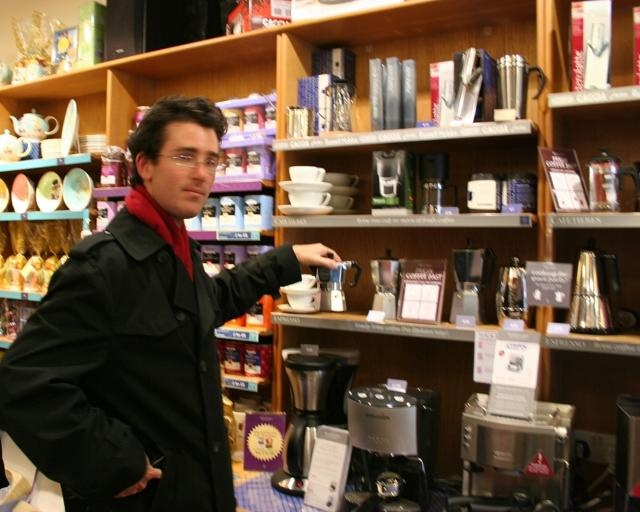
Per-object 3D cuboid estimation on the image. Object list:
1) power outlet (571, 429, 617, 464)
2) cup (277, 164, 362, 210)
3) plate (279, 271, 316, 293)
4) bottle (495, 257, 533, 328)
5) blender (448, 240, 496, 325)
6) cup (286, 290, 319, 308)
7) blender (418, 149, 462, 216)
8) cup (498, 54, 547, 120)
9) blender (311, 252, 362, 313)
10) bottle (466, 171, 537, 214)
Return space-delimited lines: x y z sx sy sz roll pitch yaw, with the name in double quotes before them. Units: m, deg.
"power outlet" 1.153 0.823 2.226 0.151 0.141 0.080 1 3 26
"cup" 0.004 -0.278 2.472 0.278 0.131 0.220 5 -6 -44
"plate" -0.090 0.106 2.424 0.109 0.048 0.102 -33 7 -21
"bottle" 0.778 0.146 2.126 0.119 0.270 0.155 -1 3 0
"blender" 0.642 0.121 2.206 0.189 0.316 0.171 -1 3 6
"cup" -0.080 0.180 2.437 0.103 0.075 0.096 2 2 0
"blender" 0.525 -0.317 2.330 0.163 0.267 0.463 0 4 11
"cup" 0.789 -0.669 2.077 0.174 0.257 0.135 0 3 18
"blender" 0.082 0.148 2.483 0.283 0.381 0.172 2 -2 -14
"bottle" 0.749 -0.259 2.158 0.244 0.162 0.187 -4 4 -37
